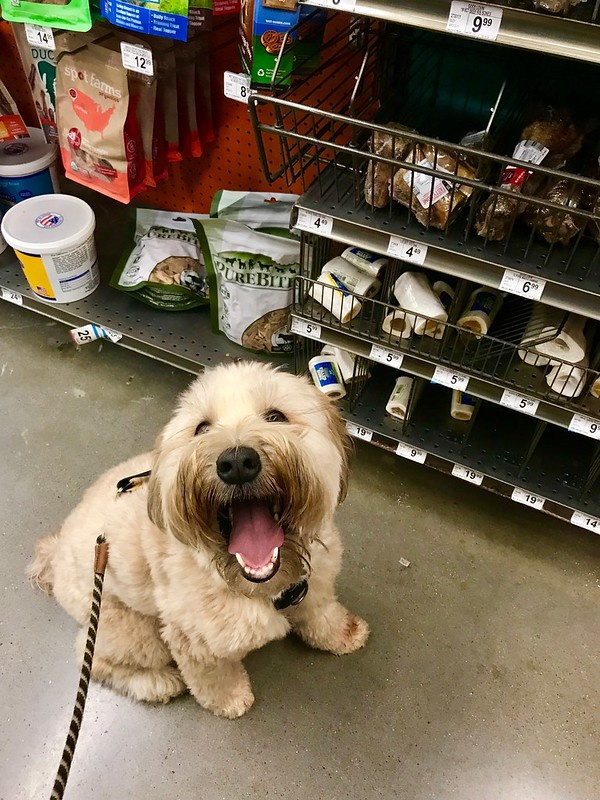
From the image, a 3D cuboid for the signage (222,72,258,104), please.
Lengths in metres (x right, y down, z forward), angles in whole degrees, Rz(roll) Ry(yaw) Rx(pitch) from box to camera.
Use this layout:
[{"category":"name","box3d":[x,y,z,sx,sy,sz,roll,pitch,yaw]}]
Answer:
[{"category":"signage","box3d":[-0.172,-0.867,1.675,0.069,0.065,0.068,4,42,0]}]

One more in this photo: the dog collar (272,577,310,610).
[{"category":"dog collar","box3d":[-0.020,0.452,1.460,0.070,0.035,0.098,-27,12,26]}]
